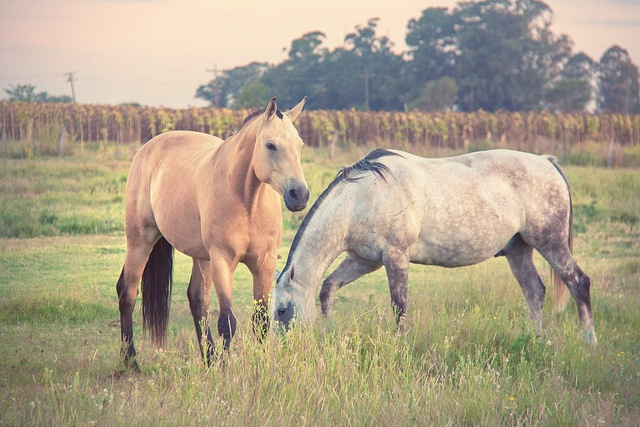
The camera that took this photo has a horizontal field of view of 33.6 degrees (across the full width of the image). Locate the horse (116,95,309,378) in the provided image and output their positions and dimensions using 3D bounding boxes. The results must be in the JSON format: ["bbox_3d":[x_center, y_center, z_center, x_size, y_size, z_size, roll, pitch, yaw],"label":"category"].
[{"bbox_3d":[-2.105,0.272,19.409,3.527,4.843,1.320,4,7,23],"label":"horse"}]
